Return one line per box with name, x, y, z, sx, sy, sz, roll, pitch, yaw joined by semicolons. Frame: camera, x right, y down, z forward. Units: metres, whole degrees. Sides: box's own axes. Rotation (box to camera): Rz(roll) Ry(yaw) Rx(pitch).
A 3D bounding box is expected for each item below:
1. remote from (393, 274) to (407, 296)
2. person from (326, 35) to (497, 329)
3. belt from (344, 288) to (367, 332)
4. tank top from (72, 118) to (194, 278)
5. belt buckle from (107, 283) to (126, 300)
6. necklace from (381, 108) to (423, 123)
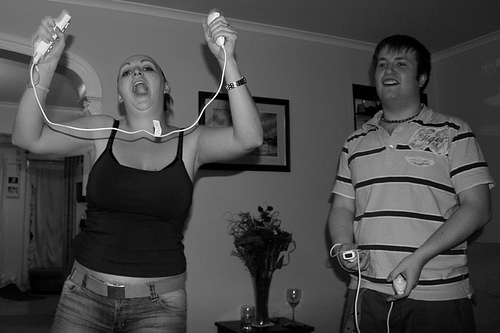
remote;0.651;0.519;1.765;0.049;0.070;0.070;0;2;5
person;0.762;0.063;2.055;0.642;1.585;0.626;3;-2;-21
belt;0.525;0.722;2.033;0.068;0.247;0.119;3;-2;-15
tank top;-0.500;0.125;1.868;0.517;0.686;0.355;8;-6;-7
belt buckle;-0.551;0.517;1.664;0.088;0.067;0.055;1;-10;-3
necklace;0.807;-0.269;2.167;0.204;0.086;0.145;2;-1;18
